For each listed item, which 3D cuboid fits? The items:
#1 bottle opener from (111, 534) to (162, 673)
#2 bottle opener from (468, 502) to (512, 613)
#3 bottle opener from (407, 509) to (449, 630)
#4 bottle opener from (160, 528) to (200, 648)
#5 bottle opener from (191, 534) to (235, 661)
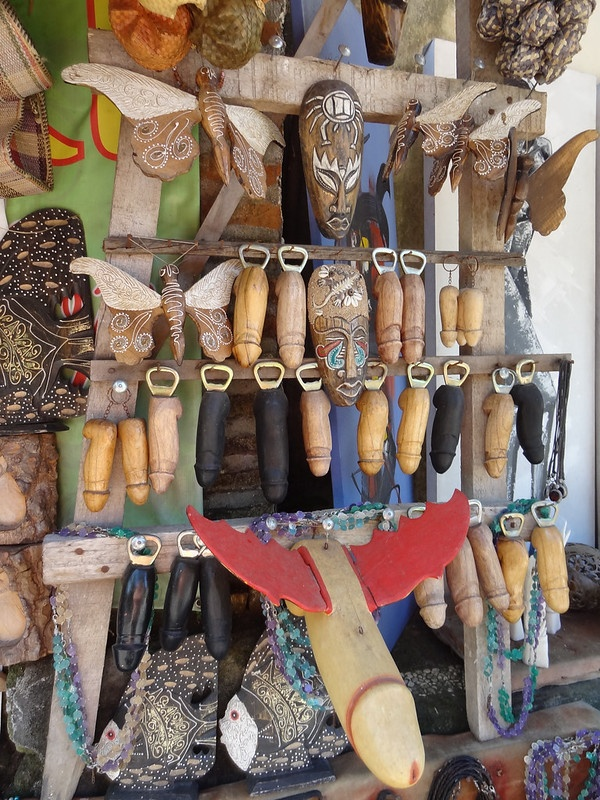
[{"bbox_3d":[-0.286,0.355,1.379,0.057,0.077,0.233,6,65,-5],"label":"bottle opener"},{"bbox_3d":[0.368,0.305,1.551,0.059,0.050,0.208,-13,78,-3],"label":"bottle opener"},{"bbox_3d":[0.241,0.341,1.483,0.048,0.052,0.167,14,64,-26],"label":"bottle opener"},{"bbox_3d":[-0.204,0.336,1.391,0.059,0.056,0.219,9,72,3],"label":"bottle opener"},{"bbox_3d":[-0.156,0.343,1.406,0.060,0.057,0.218,0,80,-25],"label":"bottle opener"}]
